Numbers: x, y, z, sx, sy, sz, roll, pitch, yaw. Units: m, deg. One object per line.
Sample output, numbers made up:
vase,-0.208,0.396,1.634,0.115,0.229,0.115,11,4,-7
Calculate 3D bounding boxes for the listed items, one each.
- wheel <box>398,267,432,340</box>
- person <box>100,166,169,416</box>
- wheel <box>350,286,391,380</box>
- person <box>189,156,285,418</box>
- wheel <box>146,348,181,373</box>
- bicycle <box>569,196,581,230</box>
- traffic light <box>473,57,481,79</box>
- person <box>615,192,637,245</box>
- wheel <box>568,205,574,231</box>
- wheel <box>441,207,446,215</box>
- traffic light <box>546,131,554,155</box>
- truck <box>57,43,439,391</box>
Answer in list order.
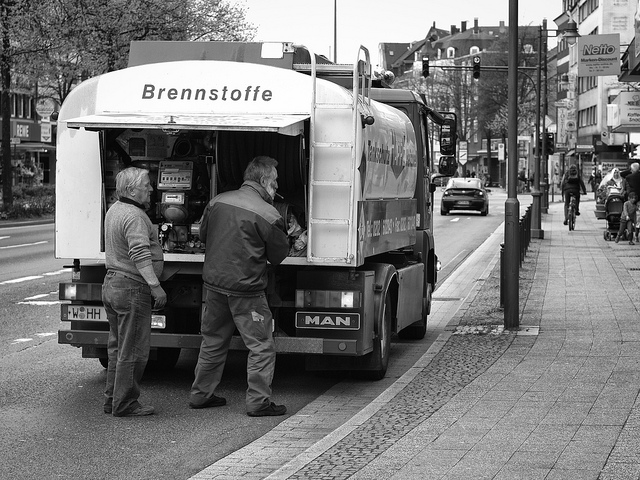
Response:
wheel,1.419,0.915,11.410,0.530,1.536,0.977,3,-9,9
person,-1.663,0.471,6.910,0.584,2.202,0.423,-2,5,-4
wheel,0.505,0.966,8.064,0.246,0.911,0.833,1,13,16
person,-0.743,0.435,7.103,0.862,2.312,0.485,-2,5,-2
wheel,-1.803,1.351,8.924,0.388,0.327,0.387,-2,6,0
bicycle,10.121,-1.101,31.037,0.279,1.243,1.280,0,6,19
traffic light,7.155,-7.869,35.523,0.282,0.951,1.653,0,7,10
person,9.846,-0.701,24.908,0.593,1.684,1.379,0,6,18
wheel,10.002,-0.905,30.856,0.180,0.977,0.833,0,6,16
wheel,7.024,-1.636,44.087,0.179,0.394,0.369,0,4,10
traffic light,10.462,-4.400,35.412,0.330,0.984,2.288,0,7,14
truck,-0.169,-0.365,10.185,2.996,3.654,6.160,0,3,19
